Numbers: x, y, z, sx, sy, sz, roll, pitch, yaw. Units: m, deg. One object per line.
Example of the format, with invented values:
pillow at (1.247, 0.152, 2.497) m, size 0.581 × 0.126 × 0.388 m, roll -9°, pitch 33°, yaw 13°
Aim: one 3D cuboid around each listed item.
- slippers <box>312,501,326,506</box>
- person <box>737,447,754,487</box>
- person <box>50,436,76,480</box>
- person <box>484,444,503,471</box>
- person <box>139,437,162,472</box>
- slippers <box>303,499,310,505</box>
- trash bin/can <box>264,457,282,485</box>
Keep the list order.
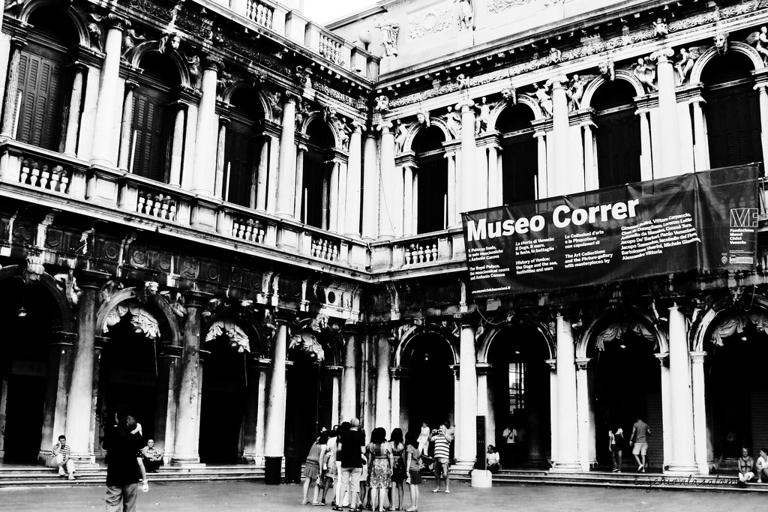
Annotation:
slippers at (-1.858, 6.984, 26.365) m, size 0.346 × 0.130 × 0.114 m, roll 0°, pitch -6°, yaw 3°
person at (11.612, 6.801, 30.150) m, size 0.424 × 1.188 × 1.233 m, roll -7°, pitch -19°, yaw 23°
person at (-9.855, 6.195, 28.743) m, size 0.499 × 1.347 × 0.857 m, roll 17°, pitch -24°, yaw -42°
person at (3.889, 7.313, 33.797) m, size 0.396 × 1.034 × 0.857 m, roll -5°, pitch -18°, yaw 19°
person at (-7.559, 6.538, 30.481) m, size 0.736 × 1.003 × 0.639 m, roll 4°, pitch -3°, yaw -12°
slippers at (-2.226, 6.977, 26.445) m, size 0.103 × 0.126 × 0.300 m, roll -4°, pitch -27°, yaw 4°
trash bin/can at (-3.680, 7.088, 30.818) m, size 0.515 × 0.910 × 0.390 m, roll 4°, pitch -18°, yaw -10°
